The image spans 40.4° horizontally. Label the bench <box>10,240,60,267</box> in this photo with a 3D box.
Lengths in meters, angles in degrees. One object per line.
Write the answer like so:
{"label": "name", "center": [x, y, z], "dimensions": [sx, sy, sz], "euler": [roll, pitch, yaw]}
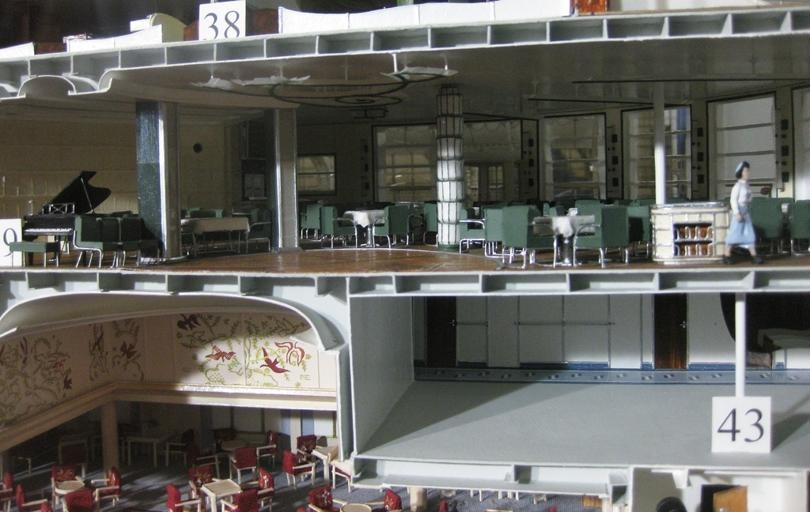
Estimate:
{"label": "bench", "center": [-10.258, -0.097, 31.004], "dimensions": [1.315, 0.713, 2.007], "euler": [-1, 3, -6]}

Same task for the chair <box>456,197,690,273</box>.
{"label": "chair", "center": [3.956, -0.594, 29.874], "dimensions": [4.693, 1.554, 3.097], "euler": [1, 4, 35]}

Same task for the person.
{"label": "person", "center": [8.758, -1.139, 28.520], "dimensions": [0.844, 2.565, 1.387], "euler": [0, 3, 19]}
